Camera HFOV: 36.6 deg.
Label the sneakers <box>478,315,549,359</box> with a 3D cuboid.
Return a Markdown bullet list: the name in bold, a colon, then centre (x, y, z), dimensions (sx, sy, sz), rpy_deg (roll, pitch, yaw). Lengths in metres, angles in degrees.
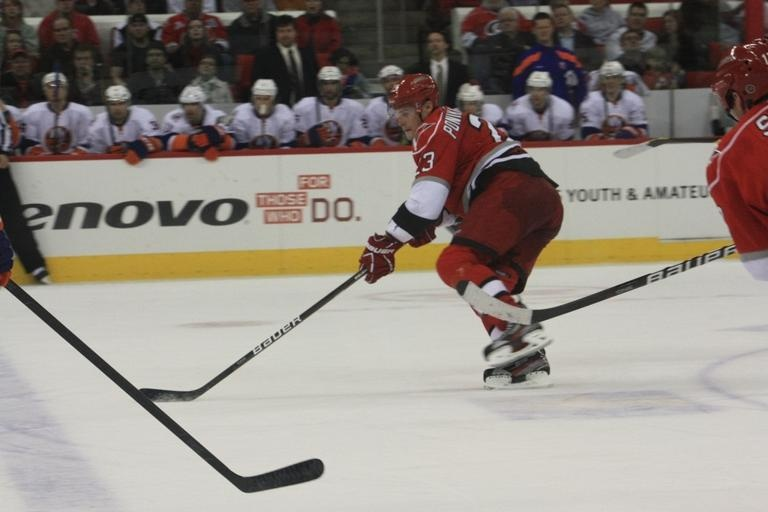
- **sneakers**: centre (0.779, 0.487, 6.735), dimensions (0.494, 0.147, 0.169), rpy_deg (-16, 57, -3)

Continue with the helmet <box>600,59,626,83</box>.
- **helmet**: centre (1.889, -1.544, 9.737), dimensions (0.210, 0.102, 0.169), rpy_deg (-2, 2, 0)

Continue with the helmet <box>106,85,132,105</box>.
- **helmet**: centre (-2.161, -1.323, 9.541), dimensions (0.208, 0.135, 0.195), rpy_deg (-3, 14, -8)

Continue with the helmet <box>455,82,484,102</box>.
- **helmet**: centre (0.713, -1.343, 9.581), dimensions (0.191, 0.148, 0.192), rpy_deg (-5, 15, 11)

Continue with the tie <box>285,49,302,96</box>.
- **tie**: centre (-0.723, -1.484, 9.601), dimensions (0.112, 0.419, 0.137), rpy_deg (-3, 18, -3)

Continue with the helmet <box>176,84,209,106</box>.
- **helmet**: centre (-1.571, -1.321, 9.564), dimensions (0.231, 0.142, 0.166), rpy_deg (1, 15, 8)

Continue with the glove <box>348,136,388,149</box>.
- **glove**: centre (-0.141, -0.937, 9.641), dimensions (0.207, 0.047, 0.156), rpy_deg (-2, 24, 3)

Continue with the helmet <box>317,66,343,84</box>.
- **helmet**: centre (-0.447, -1.488, 9.555), dimensions (0.189, 0.125, 0.151), rpy_deg (-2, 15, -3)

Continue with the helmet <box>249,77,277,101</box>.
- **helmet**: centre (-0.974, -1.368, 9.471), dimensions (0.203, 0.118, 0.177), rpy_deg (0, -3, -2)

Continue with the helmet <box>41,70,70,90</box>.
- **helmet**: centre (-2.677, -1.445, 9.547), dimensions (0.196, 0.103, 0.124), rpy_deg (-7, 9, 14)

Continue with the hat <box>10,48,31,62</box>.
- **hat**: centre (-2.957, -1.647, 9.556), dimensions (0.161, 0.078, 0.215), rpy_deg (-4, -11, -18)

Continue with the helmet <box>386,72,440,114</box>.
- **helmet**: centre (0.179, -0.972, 6.996), dimensions (0.320, 0.174, 0.201), rpy_deg (8, -3, -8)

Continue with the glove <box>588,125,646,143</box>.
- **glove**: centre (1.936, -1.024, 9.809), dimensions (0.381, 0.062, 0.185), rpy_deg (-1, -3, 0)
